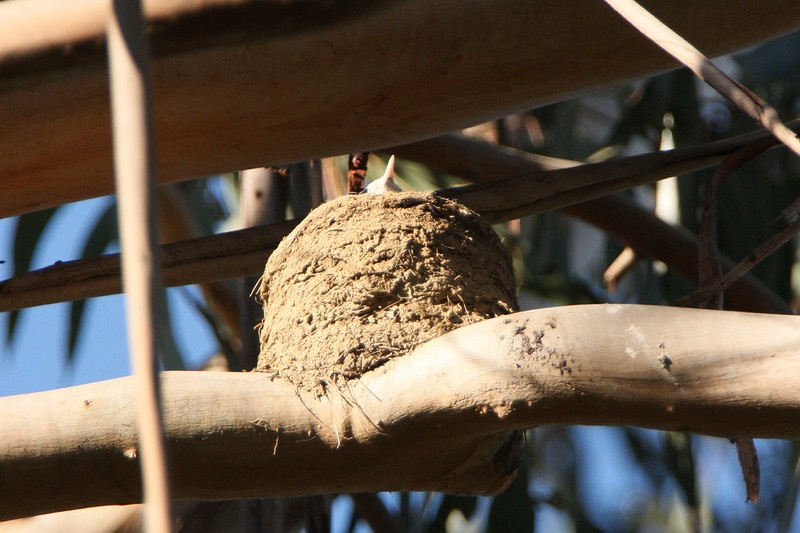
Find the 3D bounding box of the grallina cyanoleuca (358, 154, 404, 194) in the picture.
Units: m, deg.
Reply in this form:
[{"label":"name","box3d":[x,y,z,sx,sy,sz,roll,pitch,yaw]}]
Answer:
[{"label":"grallina cyanoleuca","box3d":[-0.041,-0.389,8.779,0.109,0.118,0.125,1,-62,-7]}]
